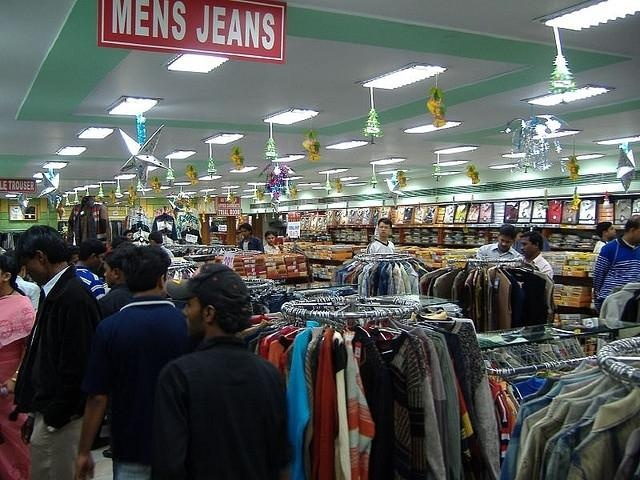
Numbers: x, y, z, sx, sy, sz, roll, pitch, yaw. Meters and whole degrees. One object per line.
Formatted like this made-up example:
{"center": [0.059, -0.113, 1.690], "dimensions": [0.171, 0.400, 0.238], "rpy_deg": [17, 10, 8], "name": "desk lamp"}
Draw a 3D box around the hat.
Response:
{"center": [-0.501, 0.224, 1.951], "dimensions": [0.331, 0.176, 0.215], "rpy_deg": [9, -1, 0], "name": "hat"}
